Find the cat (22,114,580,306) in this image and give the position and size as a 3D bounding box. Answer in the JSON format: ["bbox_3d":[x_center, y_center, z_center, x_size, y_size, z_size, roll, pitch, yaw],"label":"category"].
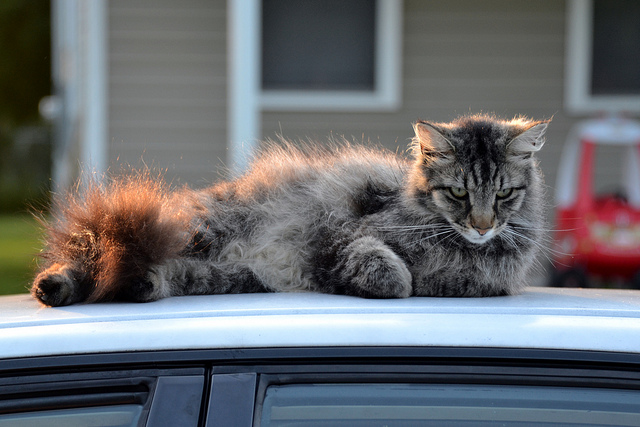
[{"bbox_3d":[-0.007,0.052,7.558,2.704,0.919,1.796,-2,-9,11],"label":"cat"}]
